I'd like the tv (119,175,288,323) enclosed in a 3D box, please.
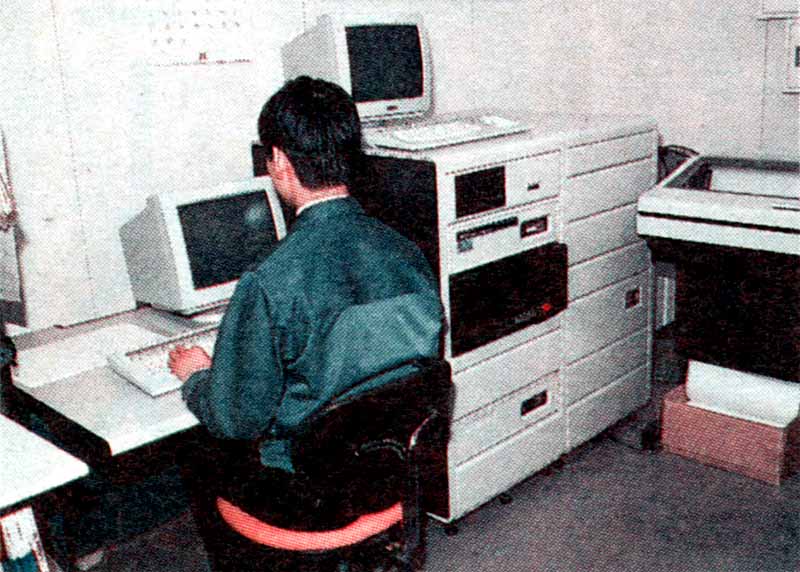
[{"bbox_3d":[-0.777,-0.157,2.402,0.431,0.391,0.564,1,16,26],"label":"tv"}]

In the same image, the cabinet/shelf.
[{"bbox_3d":[0.312,0.039,3.047,1.070,1.379,1.807,5,13,37],"label":"cabinet/shelf"}]

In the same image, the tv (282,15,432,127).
[{"bbox_3d":[-0.281,-0.912,2.732,0.715,0.409,0.674,7,24,11],"label":"tv"}]

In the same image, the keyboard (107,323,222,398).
[{"bbox_3d":[-0.721,0.227,1.909,0.226,0.047,0.306,18,30,37],"label":"keyboard"}]
